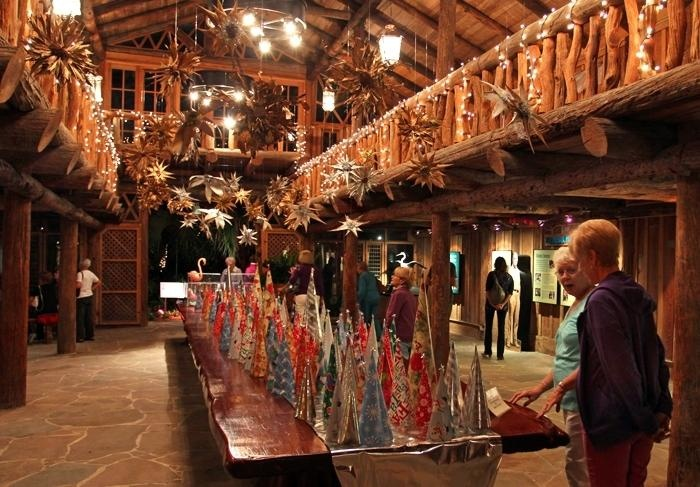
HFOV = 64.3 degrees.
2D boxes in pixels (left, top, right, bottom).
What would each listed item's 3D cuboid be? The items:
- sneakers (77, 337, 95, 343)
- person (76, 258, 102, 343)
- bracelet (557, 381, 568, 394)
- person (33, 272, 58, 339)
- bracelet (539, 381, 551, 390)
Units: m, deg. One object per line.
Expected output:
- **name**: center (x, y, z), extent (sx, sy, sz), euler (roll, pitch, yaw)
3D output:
- **sneakers**: center (-5.246, 1.946, 11.221), extent (0.270, 0.116, 0.096), euler (11, -14, -36)
- **person**: center (-5.381, 1.149, 11.699), extent (0.384, 1.646, 1.407), euler (0, 1, -18)
- **bracelet**: center (1.281, 0.871, 3.374), extent (0.019, 0.061, 0.058), euler (12, 17, -41)
- **person**: center (-5.962, 1.275, 11.100), extent (0.387, 1.379, 1.205), euler (0, 1, -30)
- **bracelet**: center (1.241, 0.907, 3.573), extent (0.055, 0.056, 0.210), euler (-10, -13, 26)
